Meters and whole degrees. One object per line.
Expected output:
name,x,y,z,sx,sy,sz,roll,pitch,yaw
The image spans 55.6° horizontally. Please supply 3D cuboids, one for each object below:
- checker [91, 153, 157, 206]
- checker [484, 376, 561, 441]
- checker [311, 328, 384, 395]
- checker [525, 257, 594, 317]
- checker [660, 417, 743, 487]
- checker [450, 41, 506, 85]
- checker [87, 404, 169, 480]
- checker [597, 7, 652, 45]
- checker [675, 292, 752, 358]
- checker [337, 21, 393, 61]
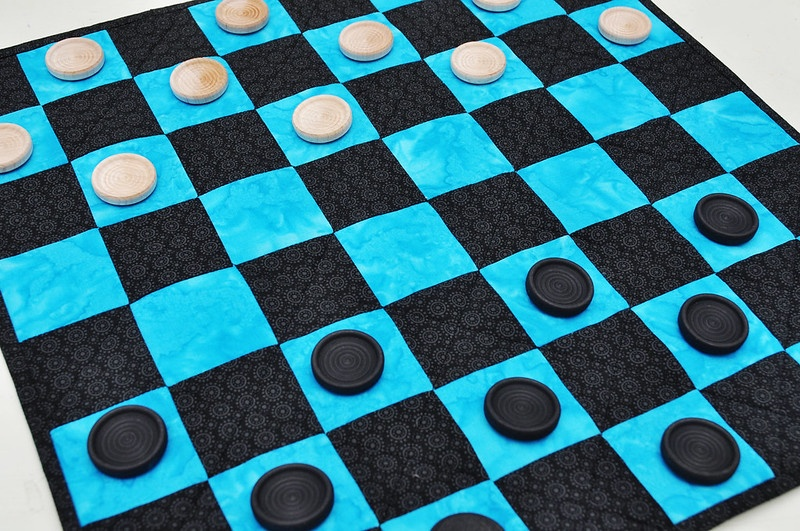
checker,-1.401,-0.442,3.903,0.286,0.069,0.284,-40,67,-23
checker,0.541,0.629,3.337,0.323,0.092,0.279,1,81,3
checker,-0.236,0.423,3.432,0.317,0.105,0.271,-1,81,3
checker,0.776,0.096,3.649,0.323,0.084,0.323,-4,53,-5
checker,1.299,0.800,3.267,0.320,0.092,0.280,7,81,4
checker,0.453,-1.175,4.306,0.345,0.352,0.082,3,69,8
checker,-1.173,0.754,3.261,0.321,0.142,0.310,-15,80,0
checker,1.344,-1.434,4.492,0.268,0.067,0.265,-28,54,-22
checker,1.474,0.271,3.549,0.306,0.101,0.295,0,81,3
checker,-0.193,-1.307,4.372,0.269,0.065,0.266,-24,54,-16
